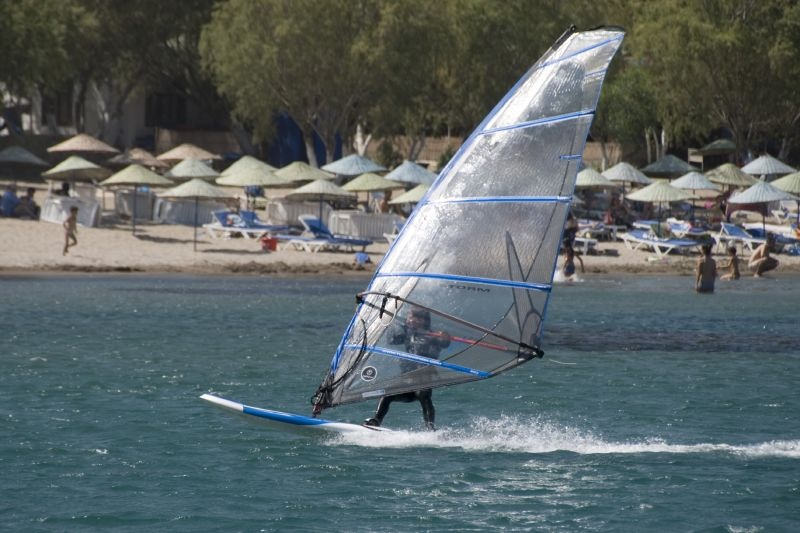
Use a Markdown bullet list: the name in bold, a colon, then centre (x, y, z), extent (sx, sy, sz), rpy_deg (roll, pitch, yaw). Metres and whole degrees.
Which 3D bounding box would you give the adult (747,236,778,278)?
- **adult**: centre (15.178, -0.411, 81.249), extent (1.176, 1.648, 2.018), rpy_deg (2, 3, 11)

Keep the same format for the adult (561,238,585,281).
- **adult**: centre (7.139, -0.240, 81.069), extent (0.972, 0.666, 1.673), rpy_deg (17, 37, -1)

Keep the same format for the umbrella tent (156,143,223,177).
- **umbrella tent**: centre (-9.528, -4.677, 86.849), extent (2.544, 1.599, 2.425), rpy_deg (-1, 11, -3)

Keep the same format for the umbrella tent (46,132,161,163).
- **umbrella tent**: centre (-13.948, -5.495, 90.906), extent (4.861, 1.530, 8.766), rpy_deg (1, 2, -7)

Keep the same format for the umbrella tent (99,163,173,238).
- **umbrella tent**: centre (-11.591, -2.829, 82.979), extent (3.663, 3.065, 3.510), rpy_deg (1, 5, 15)

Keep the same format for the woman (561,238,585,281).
- **woman**: centre (7.139, -0.240, 81.069), extent (0.972, 0.666, 1.673), rpy_deg (17, 37, -1)
